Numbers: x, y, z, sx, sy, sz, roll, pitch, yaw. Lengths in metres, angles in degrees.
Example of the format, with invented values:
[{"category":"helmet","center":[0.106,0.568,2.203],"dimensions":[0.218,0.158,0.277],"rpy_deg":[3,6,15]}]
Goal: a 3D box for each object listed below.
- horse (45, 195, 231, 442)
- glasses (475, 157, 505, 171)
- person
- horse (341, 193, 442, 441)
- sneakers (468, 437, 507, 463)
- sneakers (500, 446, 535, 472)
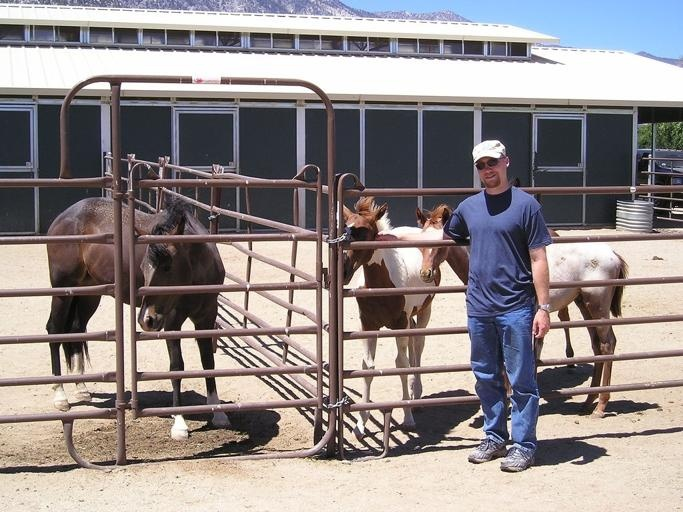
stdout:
[{"category":"horse","center":[-2.189,0.599,12.398],"dimensions":[3.813,2.753,1.073],"rpy_deg":[6,7,39]},{"category":"glasses","center":[1.532,-0.966,10.945],"dimensions":[0.324,0.154,0.156],"rpy_deg":[1,14,5]},{"category":"person","center":[1.645,0.540,10.915],"dimensions":[0.882,3.283,0.708],"rpy_deg":[5,15,23]},{"category":"horse","center":[0.566,0.758,12.584],"dimensions":[0.838,2.688,3.340],"rpy_deg":[-2,-5,16]},{"category":"sneakers","center":[1.514,2.040,11.212],"dimensions":[0.431,0.207,0.194],"rpy_deg":[-10,15,-23]},{"category":"sneakers","center":[1.791,2.112,10.940],"dimensions":[0.182,0.165,0.382],"rpy_deg":[-4,-4,32]}]
